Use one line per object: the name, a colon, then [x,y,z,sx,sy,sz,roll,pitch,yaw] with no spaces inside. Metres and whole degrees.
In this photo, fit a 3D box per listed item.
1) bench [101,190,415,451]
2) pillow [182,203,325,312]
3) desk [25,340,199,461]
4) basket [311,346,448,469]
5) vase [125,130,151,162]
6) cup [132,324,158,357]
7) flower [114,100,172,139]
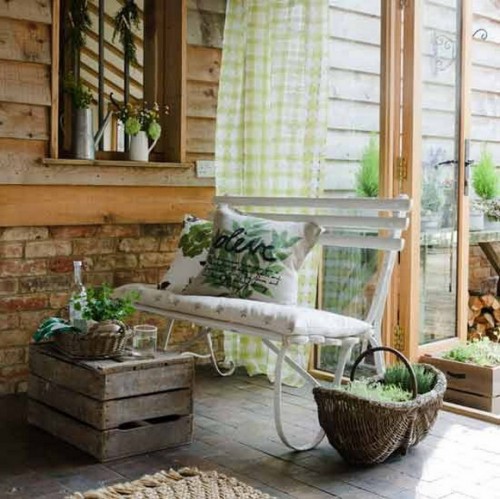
bench: [-0.002,0.210,2.266,1.133,0.918,0.799,7,8,41]
pillow: [0.027,0.042,2.206,0.571,0.406,0.209,11,4,31]
desk: [-0.546,0.548,1.997,0.438,0.287,0.593,5,-1,-38]
basket: [0.494,0.526,1.871,0.328,0.358,0.552,1,3,39]
vase: [-0.654,-0.606,2.951,0.188,0.180,0.117,4,-7,-39]
cup: [-0.408,0.359,1.959,0.102,0.107,0.104,1,-4,0]
flower: [-0.663,-0.789,3.040,0.362,0.199,0.256,4,2,4]
